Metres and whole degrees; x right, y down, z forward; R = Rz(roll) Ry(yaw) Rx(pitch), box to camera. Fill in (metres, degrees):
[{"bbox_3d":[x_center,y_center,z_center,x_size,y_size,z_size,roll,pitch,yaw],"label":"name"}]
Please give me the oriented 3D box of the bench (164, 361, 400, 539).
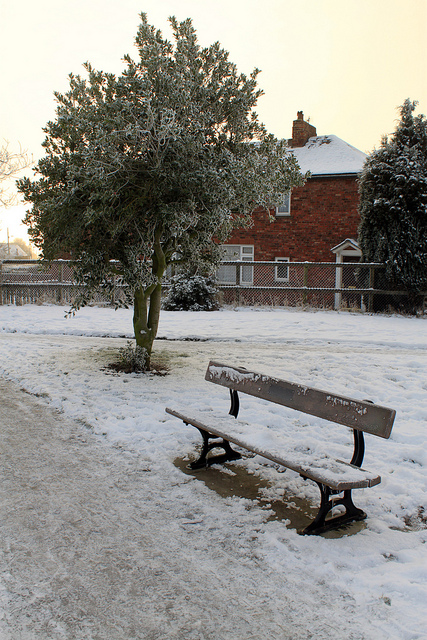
[{"bbox_3d":[0.440,0.922,4.775,0.683,0.809,2.235,-8,9,-30],"label":"bench"}]
